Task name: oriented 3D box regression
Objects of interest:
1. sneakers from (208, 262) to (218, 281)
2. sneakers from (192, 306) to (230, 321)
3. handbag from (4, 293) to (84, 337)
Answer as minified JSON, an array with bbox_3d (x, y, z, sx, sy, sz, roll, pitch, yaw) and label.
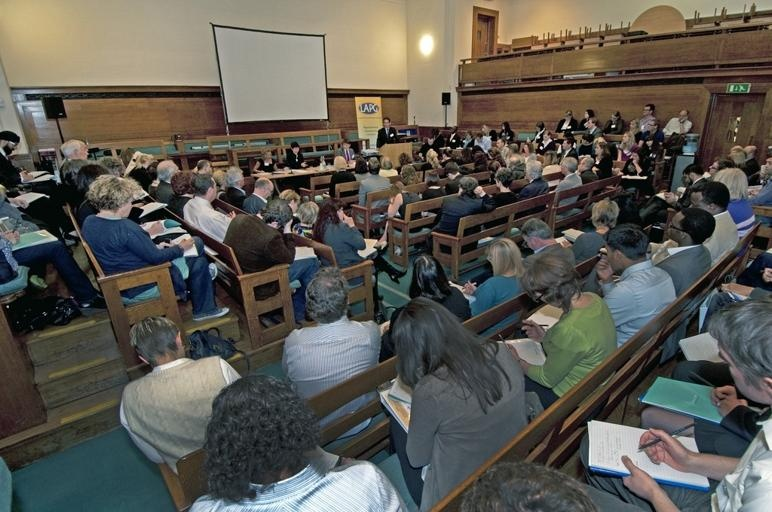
[{"bbox_3d":[-1.927,0.174,4.815,0.090,0.194,0.079,-1,16,-41],"label":"sneakers"},{"bbox_3d":[-1.897,0.635,4.693,0.360,0.139,0.135,-9,18,-26],"label":"sneakers"},{"bbox_3d":[-3.293,0.553,4.171,0.493,0.302,0.159,-16,-11,-37],"label":"handbag"}]
